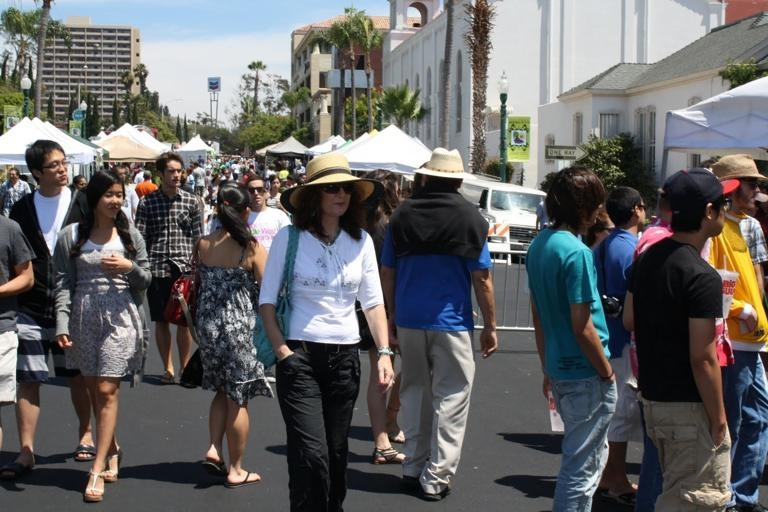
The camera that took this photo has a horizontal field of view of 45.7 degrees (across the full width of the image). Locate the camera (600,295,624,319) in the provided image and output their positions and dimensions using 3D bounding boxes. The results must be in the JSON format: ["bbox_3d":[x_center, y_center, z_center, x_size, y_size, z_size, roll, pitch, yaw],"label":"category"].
[{"bbox_3d":[2.121,0.462,8.444,0.207,0.234,0.178,4,3,3],"label":"camera"}]

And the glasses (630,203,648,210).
[{"bbox_3d":[2.467,-0.479,8.729,0.065,0.050,0.348,2,5,25],"label":"glasses"}]

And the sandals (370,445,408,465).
[{"bbox_3d":[0.044,1.950,9.027,0.288,0.141,0.151,0,-1,-12],"label":"sandals"}]

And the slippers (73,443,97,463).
[{"bbox_3d":[-2.962,1.925,8.958,0.113,0.091,0.294,0,-8,4],"label":"slippers"}]

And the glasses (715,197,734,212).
[{"bbox_3d":[2.739,-0.414,7.300,0.076,0.111,0.105,42,17,35],"label":"glasses"}]

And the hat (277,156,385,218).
[{"bbox_3d":[-0.437,-0.603,7.584,0.835,0.500,0.386,0,4,-3],"label":"hat"}]

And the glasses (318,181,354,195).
[{"bbox_3d":[-0.381,-0.554,7.467,0.263,0.098,0.083,0,4,-8],"label":"glasses"}]

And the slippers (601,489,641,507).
[{"bbox_3d":[2.145,2.182,8.317,0.322,0.110,0.131,1,4,15],"label":"slippers"}]

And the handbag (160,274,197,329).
[{"bbox_3d":[-2.225,0.481,9.886,0.288,0.603,0.577,18,-4,-18],"label":"handbag"}]
